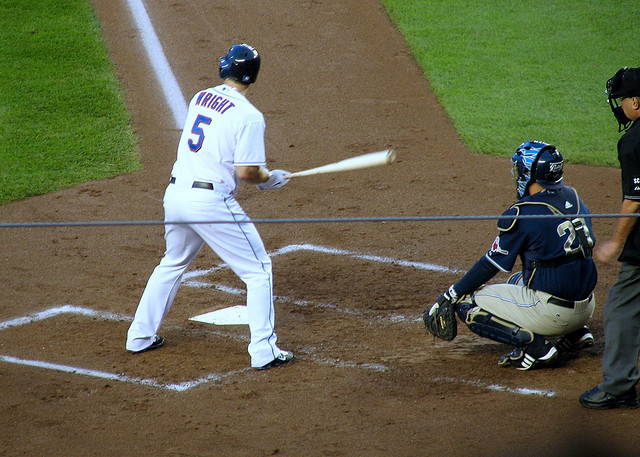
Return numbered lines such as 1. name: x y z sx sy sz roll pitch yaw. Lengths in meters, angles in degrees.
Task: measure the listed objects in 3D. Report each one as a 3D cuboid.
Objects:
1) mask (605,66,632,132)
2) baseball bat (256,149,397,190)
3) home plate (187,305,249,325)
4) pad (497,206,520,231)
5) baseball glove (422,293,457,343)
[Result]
1. mask: 2.744 -1.121 9.393 0.230 0.793 0.647 3 34 14
2. baseball bat: -0.006 -0.532 9.575 1.320 0.195 0.129 -10 71 8
3. home plate: -1.036 0.883 10.487 0.582 0.037 0.333 -4 30 1
4. pad: 1.731 -0.100 9.370 0.200 0.062 0.218 2 56 50
5. baseball glove: 1.132 0.856 9.662 0.217 0.519 0.280 -30 25 -32
